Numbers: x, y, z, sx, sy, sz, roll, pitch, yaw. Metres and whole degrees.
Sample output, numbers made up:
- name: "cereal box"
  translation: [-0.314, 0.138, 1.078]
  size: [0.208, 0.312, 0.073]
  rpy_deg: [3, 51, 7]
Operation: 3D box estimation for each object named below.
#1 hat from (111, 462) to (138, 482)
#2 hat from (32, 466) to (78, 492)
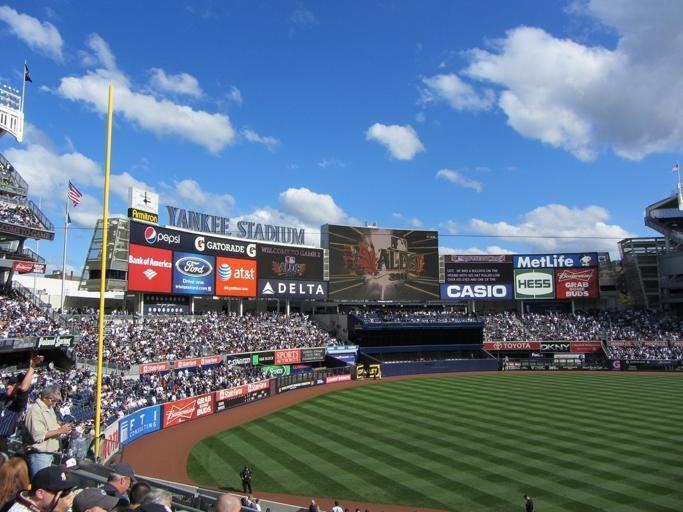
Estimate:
- name: "hat"
  translation: [-6.816, 6.848, 17.342]
  size: [0.870, 0.515, 0.589]
  rpy_deg: [17, -10, -37]
- name: "hat"
  translation: [-8.086, 6.331, 15.568]
  size: [1.114, 0.601, 0.794]
  rpy_deg: [-3, 5, -27]
